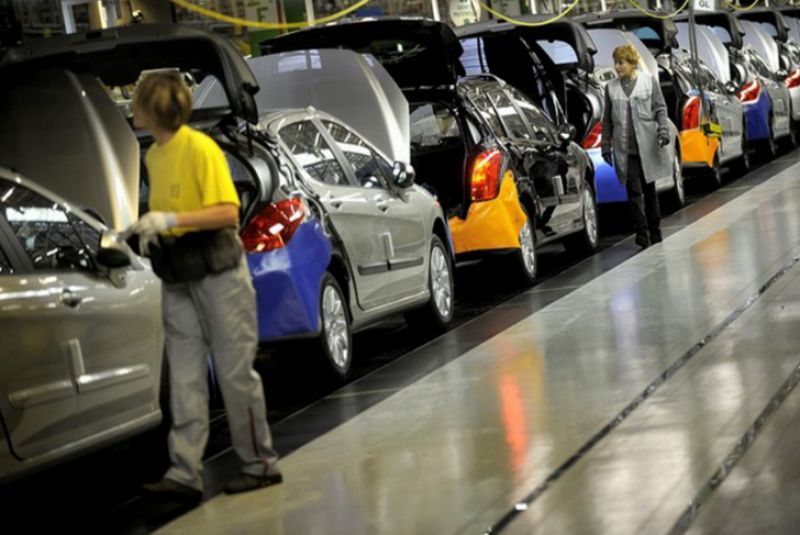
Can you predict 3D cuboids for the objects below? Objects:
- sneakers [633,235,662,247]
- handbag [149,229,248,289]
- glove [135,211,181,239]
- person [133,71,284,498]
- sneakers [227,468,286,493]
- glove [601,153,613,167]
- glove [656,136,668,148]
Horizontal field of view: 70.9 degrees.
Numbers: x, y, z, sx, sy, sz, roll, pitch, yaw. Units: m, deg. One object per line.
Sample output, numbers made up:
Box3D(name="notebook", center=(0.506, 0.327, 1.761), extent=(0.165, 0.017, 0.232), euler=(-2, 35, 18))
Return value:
Box3D(name="sneakers", center=(4.217, -0.440, 9.545), extent=(0.234, 0.122, 0.315), euler=(4, -8, -40))
Box3D(name="handbag", center=(-1.094, -0.068, 3.024), extent=(0.479, 0.284, 0.132), euler=(-7, 3, 12))
Box3D(name="glove", center=(-1.186, -0.213, 2.768), extent=(0.117, 0.058, 0.166), euler=(-4, 5, 23))
Box3D(name="person", center=(-1.089, 0.101, 3.017), extent=(0.625, 2.355, 0.482), euler=(-7, 2, -9))
Box3D(name="sneakers", center=(-0.829, 1.184, 3.231), extent=(0.279, 0.113, 0.131), euler=(-3, 6, -16))
Box3D(name="glove", center=(3.739, -1.930, 10.099), extent=(0.171, 0.244, 0.600), euler=(-7, 8, 14))
Box3D(name="glove", center=(4.475, -2.120, 9.567), extent=(0.148, 0.226, 0.082), euler=(3, 6, 7))
